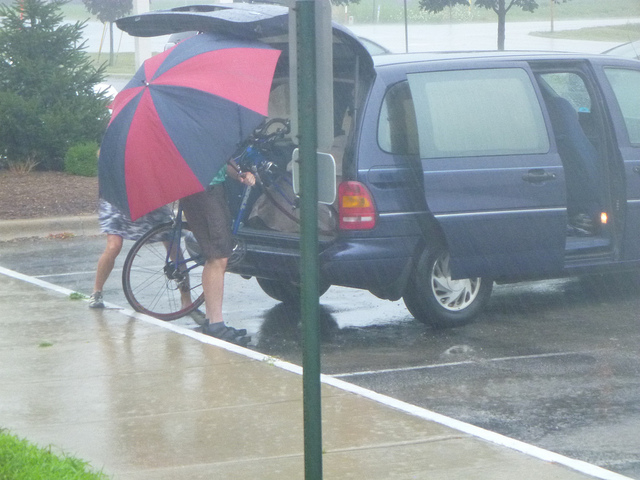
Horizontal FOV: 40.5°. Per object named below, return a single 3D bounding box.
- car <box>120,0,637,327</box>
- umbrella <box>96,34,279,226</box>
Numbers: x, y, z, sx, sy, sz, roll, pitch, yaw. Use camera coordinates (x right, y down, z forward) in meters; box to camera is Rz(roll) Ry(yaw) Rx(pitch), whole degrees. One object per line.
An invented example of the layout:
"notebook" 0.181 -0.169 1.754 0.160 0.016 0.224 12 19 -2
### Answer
"car" 1.422 -0.975 8.535 5.469 2.249 2.597 -9 12 -29
"umbrella" -1.101 -0.914 7.181 1.506 1.461 0.750 1 12 -1
